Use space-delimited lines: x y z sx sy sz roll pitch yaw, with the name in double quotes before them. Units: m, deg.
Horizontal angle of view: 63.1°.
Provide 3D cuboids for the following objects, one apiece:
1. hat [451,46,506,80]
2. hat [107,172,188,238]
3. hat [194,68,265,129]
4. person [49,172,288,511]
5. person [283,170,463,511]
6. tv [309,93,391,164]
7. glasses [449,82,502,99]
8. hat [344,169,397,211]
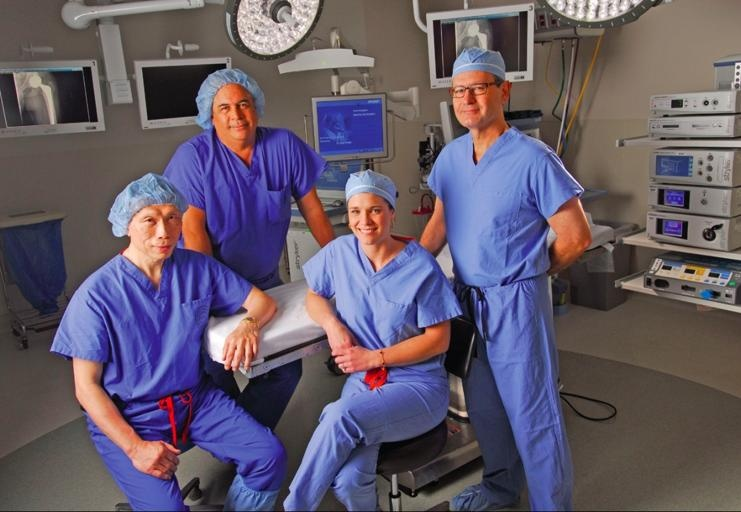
"hat" 0.436 -0.794 2.462 0.175 0.113 0.179 1 14 13
"hat" -0.893 -0.186 2.330 0.233 0.258 0.091 20 7 -25
"hat" -0.613 -0.712 2.661 0.309 0.114 0.284 -11 -12 1
"person" -0.740 0.502 2.363 0.819 1.089 0.497 -15 21 -28
"person" -0.028 0.298 2.341 0.757 1.171 0.553 -12 20 -21
"tv" -0.136 -0.834 3.925 0.589 0.532 0.079 -3 14 -9
"glasses" 0.425 -0.666 2.414 0.213 0.057 0.089 -3 20 6
"hat" -0.010 -0.277 2.440 0.197 0.129 0.257 4 -9 0
